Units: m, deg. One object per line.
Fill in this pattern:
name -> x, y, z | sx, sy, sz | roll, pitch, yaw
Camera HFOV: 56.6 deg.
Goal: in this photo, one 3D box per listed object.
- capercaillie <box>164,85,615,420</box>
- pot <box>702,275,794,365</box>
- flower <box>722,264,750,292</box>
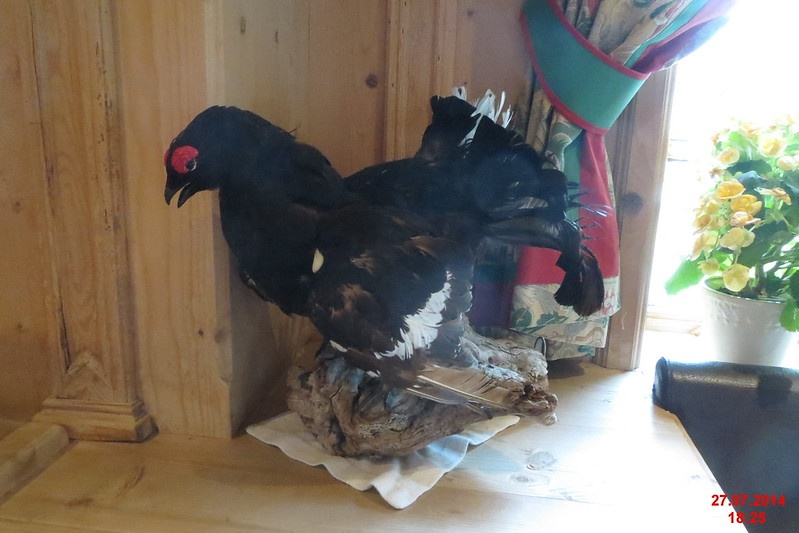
capercaillie -> -0.114, -0.040, 1.803 | 1.244, 0.763, 0.485 | -13, 34, -41
pot -> 0.917, 0.149, 2.010 | 0.247, 0.153, 0.230 | 4, 0, 0
flower -> 0.873, 0.032, 1.922 | 0.057, 0.070, 0.042 | 10, 18, 20
